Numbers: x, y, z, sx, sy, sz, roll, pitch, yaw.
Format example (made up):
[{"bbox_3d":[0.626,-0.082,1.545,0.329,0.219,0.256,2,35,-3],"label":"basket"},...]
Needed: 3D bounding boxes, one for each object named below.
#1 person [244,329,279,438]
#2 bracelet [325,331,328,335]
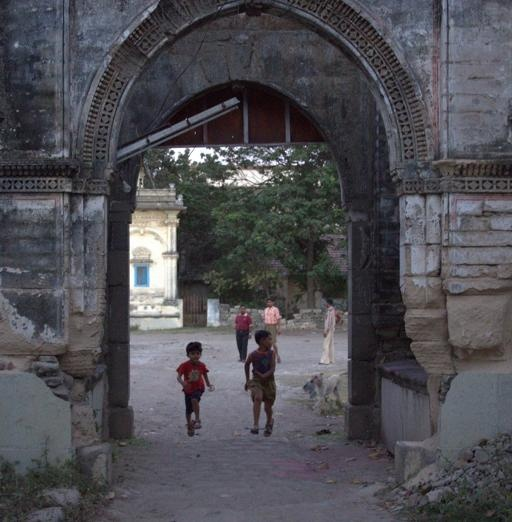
[{"bbox_3d":[0.040,1.385,12.700,0.336,1.186,0.730,-1,-3,0],"label":"person"},{"bbox_3d":[1.265,1.312,20.494,0.019,0.058,0.056,37,-11,-31],"label":"bracelet"}]
